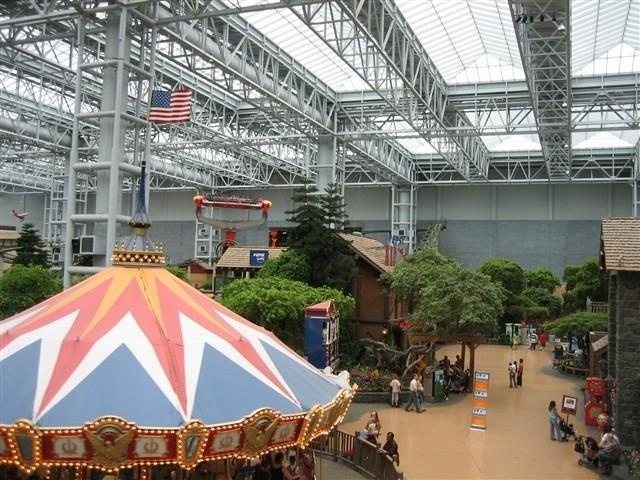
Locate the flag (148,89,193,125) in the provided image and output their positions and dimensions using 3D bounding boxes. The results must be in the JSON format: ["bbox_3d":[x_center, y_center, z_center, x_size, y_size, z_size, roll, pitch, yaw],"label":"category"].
[{"bbox_3d":[-7.369,-6.365,32.694,2.914,2.310,0.200,0,-6,-13],"label":"flag"}]

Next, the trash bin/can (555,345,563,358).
[{"bbox_3d":[15.366,7.259,43.613,0.476,0.860,1.026,5,5,15],"label":"trash bin/can"}]

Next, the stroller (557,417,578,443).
[{"bbox_3d":[10.498,8.040,28.882,0.992,1.178,0.935,-4,-3,22],"label":"stroller"}]

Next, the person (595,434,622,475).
[{"bbox_3d":[10.779,8.006,25.442,0.650,1.359,0.904,8,6,43],"label":"person"}]

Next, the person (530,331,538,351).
[{"bbox_3d":[16.113,7.720,51.270,0.581,1.267,2.816,6,5,18],"label":"person"}]

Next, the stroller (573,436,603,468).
[{"bbox_3d":[10.595,8.281,26.365,1.244,1.197,0.750,5,-30,20],"label":"stroller"}]
